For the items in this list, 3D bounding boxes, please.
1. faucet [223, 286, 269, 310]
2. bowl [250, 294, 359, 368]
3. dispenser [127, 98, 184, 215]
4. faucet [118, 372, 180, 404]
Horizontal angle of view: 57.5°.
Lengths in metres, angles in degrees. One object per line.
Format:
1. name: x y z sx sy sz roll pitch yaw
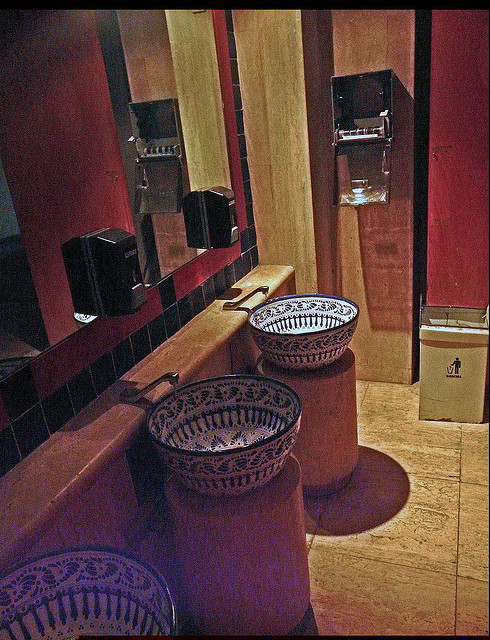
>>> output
1. faucet: -0.002 -0.086 1.740 0.223 0.044 0.072 -19 20 -38
2. bowl: 0.200 0.018 1.501 0.221 0.155 0.277 -8 21 -8
3. dispenser: -0.239 -0.425 1.258 0.121 0.367 0.170 -7 -13 -3
4. faucet: -0.242 0.155 1.098 0.165 0.097 0.069 0 19 14
